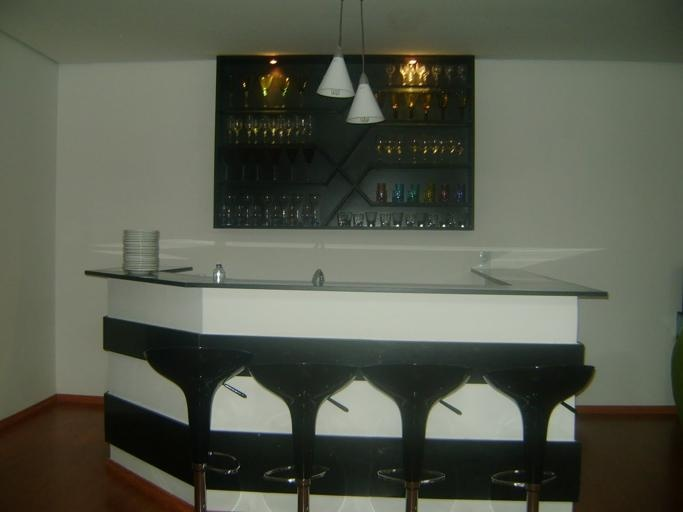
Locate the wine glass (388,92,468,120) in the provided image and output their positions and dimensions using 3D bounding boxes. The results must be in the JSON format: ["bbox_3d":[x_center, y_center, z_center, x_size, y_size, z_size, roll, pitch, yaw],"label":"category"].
[{"bbox_3d":[0.825,-1.393,6.358,0.770,0.293,0.269,1,-8,2],"label":"wine glass"}]

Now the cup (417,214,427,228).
[{"bbox_3d":[0.751,-0.329,6.322,0.081,0.175,0.163,0,-8,7],"label":"cup"}]

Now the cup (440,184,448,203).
[{"bbox_3d":[0.960,-0.581,6.323,0.074,0.178,0.060,0,-8,8],"label":"cup"}]

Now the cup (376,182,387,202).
[{"bbox_3d":[0.378,-0.577,6.403,0.097,0.198,0.171,1,-8,-3],"label":"cup"}]

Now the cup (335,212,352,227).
[{"bbox_3d":[0.020,-0.350,6.395,0.122,0.150,0.125,2,-1,0],"label":"cup"}]

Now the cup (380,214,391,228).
[{"bbox_3d":[0.402,-0.333,6.362,0.114,0.138,0.120,0,2,0],"label":"cup"}]

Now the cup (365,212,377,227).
[{"bbox_3d":[0.276,-0.347,6.381,0.104,0.129,0.112,0,-5,0],"label":"cup"}]

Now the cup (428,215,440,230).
[{"bbox_3d":[0.857,-0.315,6.321,0.099,0.208,0.107,2,9,0],"label":"cup"}]

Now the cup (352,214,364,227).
[{"bbox_3d":[0.155,-0.336,6.392,0.100,0.129,0.109,1,-4,0],"label":"cup"}]

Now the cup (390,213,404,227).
[{"bbox_3d":[0.530,-0.339,6.341,0.112,0.179,0.123,0,3,0],"label":"cup"}]

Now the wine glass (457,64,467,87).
[{"bbox_3d":[1.126,-1.692,6.315,0.087,0.215,0.046,0,-8,10],"label":"wine glass"}]

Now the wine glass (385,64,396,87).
[{"bbox_3d":[0.478,-1.674,6.279,0.127,0.242,0.102,1,-8,1],"label":"wine glass"}]

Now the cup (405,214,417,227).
[{"bbox_3d":[0.650,-0.332,6.333,0.101,0.215,0.109,2,-6,0],"label":"cup"}]

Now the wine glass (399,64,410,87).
[{"bbox_3d":[0.588,-1.678,6.276,0.096,0.218,0.065,-2,-8,19],"label":"wine glass"}]

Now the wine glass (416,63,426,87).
[{"bbox_3d":[0.746,-1.664,6.271,0.115,0.197,0.061,4,-8,-18],"label":"wine glass"}]

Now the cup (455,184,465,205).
[{"bbox_3d":[1.125,-0.574,6.347,0.106,0.209,0.074,2,-8,-10],"label":"cup"}]

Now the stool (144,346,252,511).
[{"bbox_3d":[-0.997,1.171,4.577,0.672,1.128,0.628,3,-8,-14],"label":"stool"}]

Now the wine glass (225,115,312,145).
[{"bbox_3d":[-0.691,-1.188,6.438,0.804,0.311,0.215,1,-8,1],"label":"wine glass"}]

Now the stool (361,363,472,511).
[{"bbox_3d":[0.489,1.175,4.380,0.665,0.945,0.446,0,-8,10],"label":"stool"}]

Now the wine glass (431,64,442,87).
[{"bbox_3d":[0.884,-1.700,6.329,0.103,0.195,0.040,2,-8,-9],"label":"wine glass"}]

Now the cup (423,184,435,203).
[{"bbox_3d":[0.823,-0.570,6.375,0.087,0.185,0.167,0,-8,7],"label":"cup"}]

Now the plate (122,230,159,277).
[{"bbox_3d":[-1.548,-0.033,5.383,0.287,0.369,0.308,1,-1,-2],"label":"plate"}]

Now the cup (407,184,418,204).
[{"bbox_3d":[0.671,-0.575,6.356,0.100,0.193,0.111,1,-8,-2],"label":"cup"}]

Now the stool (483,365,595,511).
[{"bbox_3d":[1.262,1.159,4.291,0.663,0.930,0.311,-1,-8,17],"label":"stool"}]
